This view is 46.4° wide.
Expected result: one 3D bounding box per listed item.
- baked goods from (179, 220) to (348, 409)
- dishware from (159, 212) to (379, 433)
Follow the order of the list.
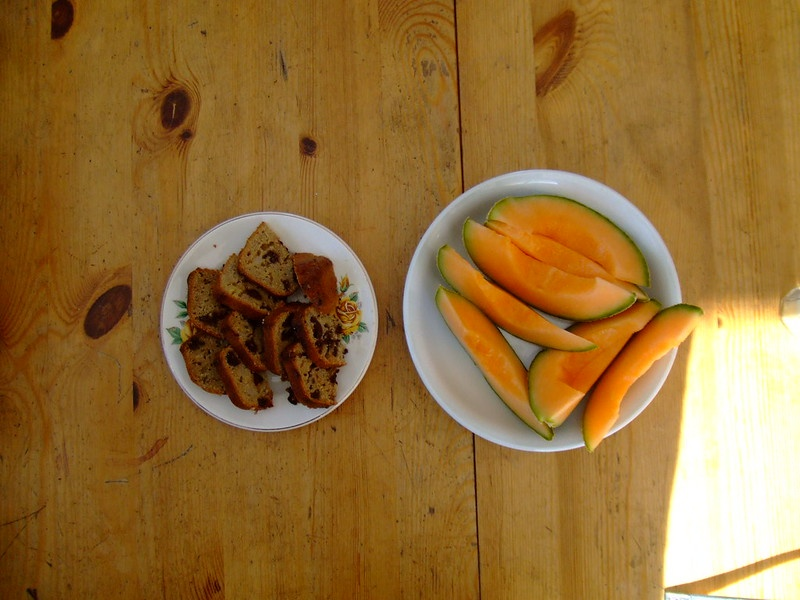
[{"bbox_3d":[-0.311,0.033,2.177,0.343,0.537,0.131,-1,-27,-20],"label":"baked goods"},{"bbox_3d":[-0.301,0.072,2.168,0.345,0.512,0.070,0,-1,-2],"label":"dishware"}]
